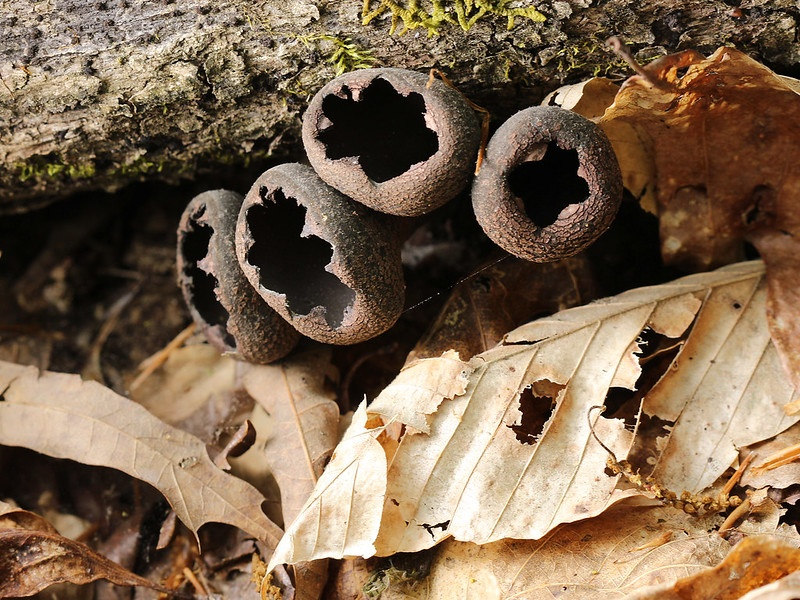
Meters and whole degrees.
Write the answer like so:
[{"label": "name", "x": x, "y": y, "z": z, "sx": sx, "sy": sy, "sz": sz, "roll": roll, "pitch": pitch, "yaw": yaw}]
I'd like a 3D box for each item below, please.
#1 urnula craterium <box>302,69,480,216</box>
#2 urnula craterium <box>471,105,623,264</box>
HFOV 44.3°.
[{"label": "urnula craterium", "x": -0.024, "y": -0.508, "z": 3.226, "sx": 0.548, "sy": 0.312, "sz": 0.470, "roll": -18, "pitch": 75, "yaw": -3}, {"label": "urnula craterium", "x": 0.463, "y": -0.344, "z": 3.102, "sx": 0.518, "sy": 0.211, "sz": 0.467, "roll": 0, "pitch": 95, "yaw": 5}]
